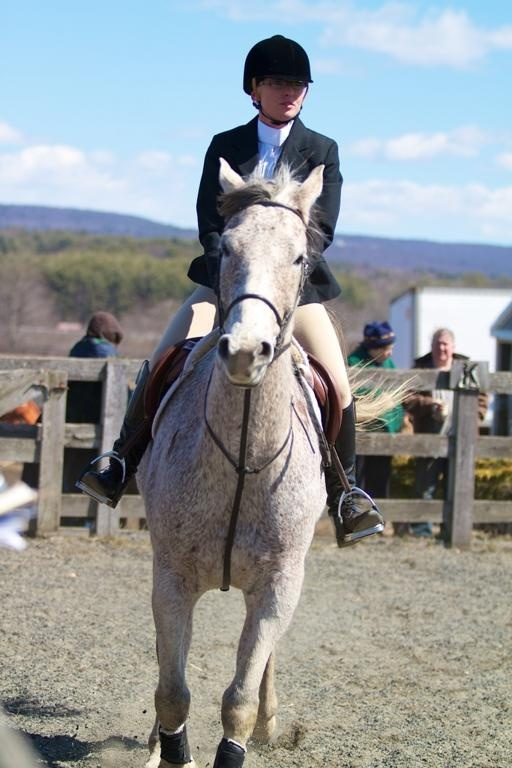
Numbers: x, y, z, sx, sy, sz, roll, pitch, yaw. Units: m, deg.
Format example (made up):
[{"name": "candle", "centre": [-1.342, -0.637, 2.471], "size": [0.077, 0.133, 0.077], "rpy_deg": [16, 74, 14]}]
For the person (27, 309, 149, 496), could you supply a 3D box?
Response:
[{"name": "person", "centre": [-1.568, 0.060, 11.028], "size": [0.677, 2.249, 1.311], "rpy_deg": [5, 7, -7]}]

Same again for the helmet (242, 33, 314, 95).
[{"name": "helmet", "centre": [0.134, -1.757, 6.654], "size": [0.399, 0.316, 0.519], "rpy_deg": [-8, 13, -5]}]

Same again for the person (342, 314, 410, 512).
[{"name": "person", "centre": [1.096, 0.169, 11.151], "size": [0.515, 1.872, 1.008], "rpy_deg": [4, 8, 15]}]

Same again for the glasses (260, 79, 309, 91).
[{"name": "glasses", "centre": [0.137, -1.580, 6.525], "size": [0.254, 0.059, 0.124], "rpy_deg": [4, 8, -4]}]

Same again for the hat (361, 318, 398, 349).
[{"name": "hat", "centre": [1.082, -0.438, 10.967], "size": [0.242, 0.180, 0.243], "rpy_deg": [-1, 13, 1]}]
